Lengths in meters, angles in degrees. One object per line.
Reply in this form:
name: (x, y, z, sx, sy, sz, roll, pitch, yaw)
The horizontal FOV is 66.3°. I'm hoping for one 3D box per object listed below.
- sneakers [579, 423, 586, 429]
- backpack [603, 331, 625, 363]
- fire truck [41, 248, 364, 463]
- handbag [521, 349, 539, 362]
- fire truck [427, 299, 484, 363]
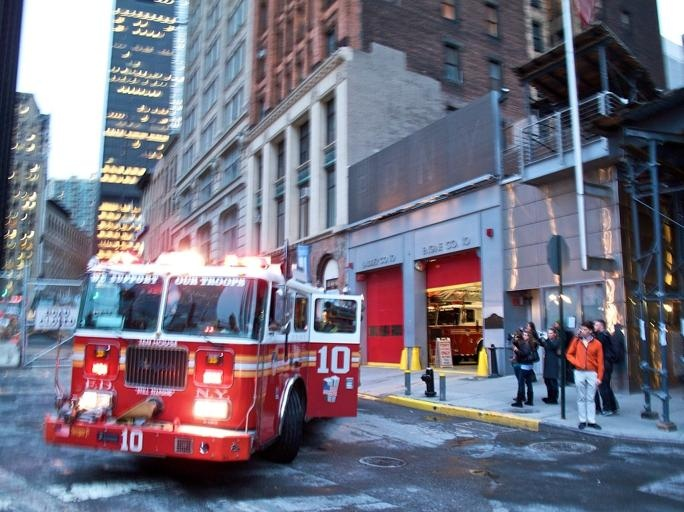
sneakers: (4.859, 3.423, 10.618, 0.150, 0.116, 0.226, -1, -5, 24)
backpack: (6.551, 2.193, 12.683, 0.317, 0.974, 0.716, -10, -12, 29)
fire truck: (-1.713, 1.915, 9.102, 3.283, 2.296, 4.716, -5, -16, 24)
handbag: (4.636, 2.460, 13.052, 0.487, 0.273, 0.415, -6, -10, 13)
fire truck: (4.646, 3.042, 21.879, 2.956, 1.798, 1.776, 12, -18, -31)
